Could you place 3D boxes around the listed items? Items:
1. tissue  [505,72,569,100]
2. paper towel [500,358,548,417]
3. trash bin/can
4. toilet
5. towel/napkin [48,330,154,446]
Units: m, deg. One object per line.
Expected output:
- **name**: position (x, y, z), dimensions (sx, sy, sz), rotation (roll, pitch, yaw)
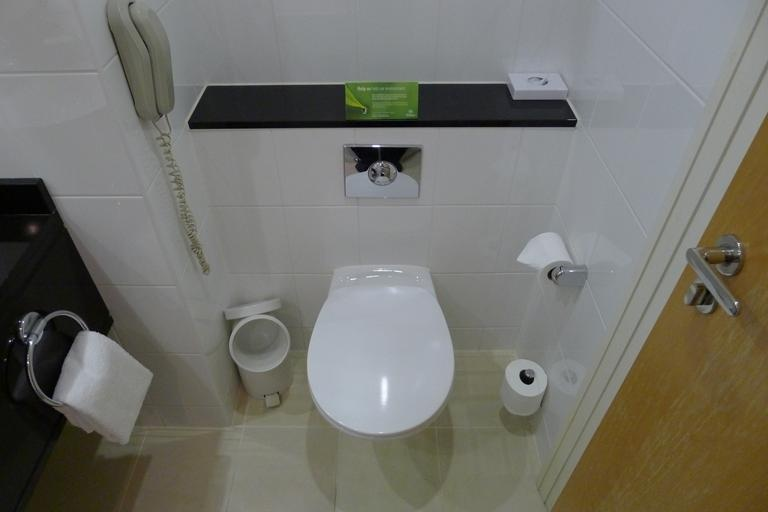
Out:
- **tissue **: position (0.537, -0.599, 1.859), dimensions (0.196, 0.066, 0.104), rotation (2, 39, 0)
- **paper towel**: position (0.538, 0.517, 2.050), dimensions (0.160, 0.211, 0.131), rotation (17, 41, 19)
- **trash bin/can**: position (-0.498, 0.397, 2.157), dimensions (0.229, 0.404, 0.238), rotation (-14, 41, -18)
- **toilet**: position (-0.012, 0.341, 1.930), dimensions (0.504, 0.181, 0.728), rotation (1, 45, -1)
- **towel/napkin**: position (-0.825, 0.375, 1.544), dimensions (0.099, 0.311, 0.318), rotation (-7, 56, 27)
